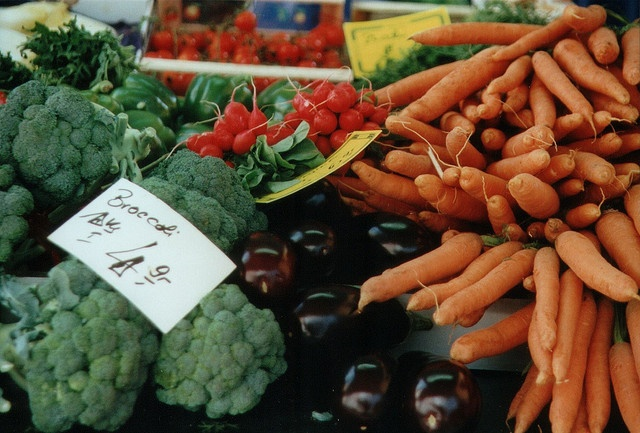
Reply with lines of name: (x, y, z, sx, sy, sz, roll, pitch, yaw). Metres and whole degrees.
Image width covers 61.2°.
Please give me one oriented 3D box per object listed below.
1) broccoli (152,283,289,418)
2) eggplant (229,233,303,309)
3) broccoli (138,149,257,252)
broccoli: (-0.322, 0.455, 1.763, 0.403, 0.162, 0.421, -40, 96, -11)
eggplant: (-0.189, 0.187, 1.915, 0.206, 0.135, 0.246, -15, 80, -20)
broccoli: (-0.451, -0.065, 2.008, 0.476, 0.212, 0.291, 22, 45, 7)
